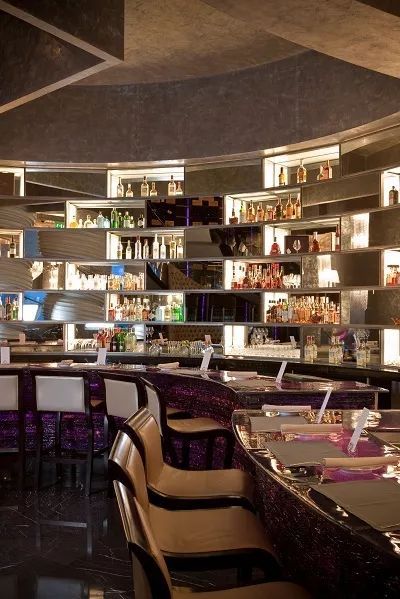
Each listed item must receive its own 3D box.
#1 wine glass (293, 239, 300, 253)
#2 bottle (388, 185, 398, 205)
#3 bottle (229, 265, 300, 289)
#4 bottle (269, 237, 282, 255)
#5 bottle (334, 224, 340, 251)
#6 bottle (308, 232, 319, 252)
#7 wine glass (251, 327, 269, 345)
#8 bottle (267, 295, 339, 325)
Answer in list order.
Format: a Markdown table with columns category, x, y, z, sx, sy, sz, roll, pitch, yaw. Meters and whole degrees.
| category | x | y | z | sx | sy | sz | roll | pitch | yaw |
| --- | --- | --- | --- | --- | --- | --- | --- | --- | --- |
| wine glass | 1.001 | -0.559 | 5.444 | 0.088 | 0.128 | 0.045 | 0 | -3 | 22 |
| bottle | 1.677 | -0.901 | 4.563 | 0.074 | 0.192 | 0.156 | 0 | -3 | 15 |
| bottle | 0.726 | -0.268 | 5.783 | 0.873 | 0.313 | 0.237 | -1 | -4 | 33 |
| bottle | 0.803 | -0.576 | 5.633 | 0.117 | 0.247 | 0.286 | 0 | -3 | 8 |
| bottle | 1.339 | -0.601 | 5.153 | 0.043 | 0.257 | 0.152 | 0 | -3 | 11 |
| bottle | 1.156 | -0.586 | 5.362 | 0.064 | 0.196 | 0.125 | 3 | -4 | -29 |
| wine glass | 0.642 | 0.394 | 5.668 | 0.169 | 0.205 | 0.177 | 1 | -2 | 9 |
| bottle | 1.079 | 0.105 | 5.388 | 0.332 | 0.313 | 0.864 | 4 | -4 | -38 |
